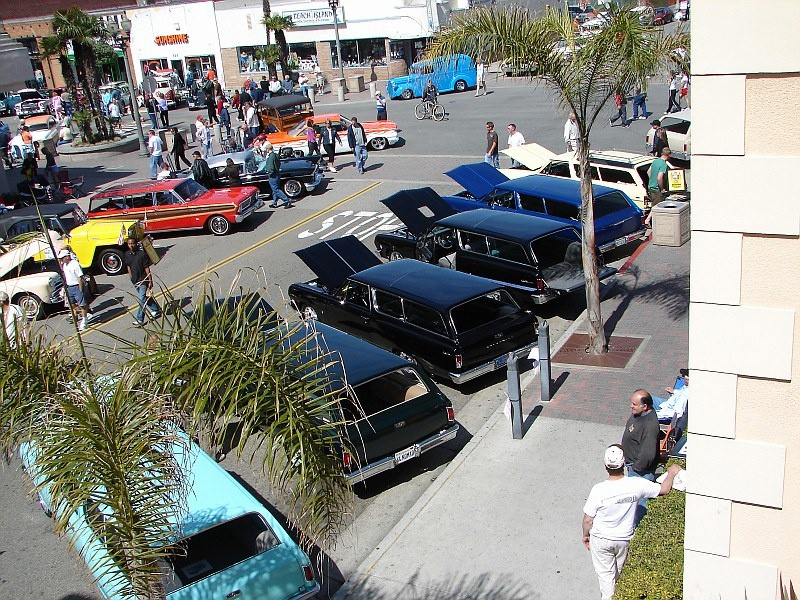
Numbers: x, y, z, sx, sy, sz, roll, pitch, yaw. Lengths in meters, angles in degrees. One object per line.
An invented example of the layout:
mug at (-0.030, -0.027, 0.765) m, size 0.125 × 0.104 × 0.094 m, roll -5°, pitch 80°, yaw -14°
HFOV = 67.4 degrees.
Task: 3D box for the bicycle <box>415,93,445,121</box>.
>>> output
bicycle at (1.748, -11.359, 35.323) m, size 2.160 × 1.438 × 1.111 m, roll 17°, pitch 43°, yaw 34°

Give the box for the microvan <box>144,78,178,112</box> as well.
microvan at (-18.391, -16.560, 47.136) m, size 1.386 × 2.629 × 7.344 m, roll -12°, pitch 19°, yaw -16°

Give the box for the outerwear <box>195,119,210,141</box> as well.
outerwear at (-9.543, -8.266, 28.857) m, size 0.532 × 1.141 × 0.672 m, roll -14°, pitch 19°, yaw -21°

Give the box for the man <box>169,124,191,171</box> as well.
man at (-10.447, -7.229, 28.469) m, size 0.878 × 2.107 × 0.750 m, roll -2°, pitch 34°, yaw -13°

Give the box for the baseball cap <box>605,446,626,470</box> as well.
baseball cap at (2.277, 1.658, 6.394) m, size 0.175 × 0.251 × 0.207 m, roll -2°, pitch 19°, yaw 15°

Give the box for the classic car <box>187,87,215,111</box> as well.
classic car at (-15.604, -15.314, 45.837) m, size 1.305 × 1.423 × 1.807 m, roll -17°, pitch 20°, yaw -28°

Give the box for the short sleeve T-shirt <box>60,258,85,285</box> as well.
short sleeve T-shirt at (-8.312, -0.698, 15.184) m, size 0.380 × 0.623 × 0.562 m, roll -17°, pitch 20°, yaw -29°

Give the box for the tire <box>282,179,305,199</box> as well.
tire at (-4.279, -4.463, 23.639) m, size 0.781 × 0.844 × 0.320 m, roll 0°, pitch 15°, yaw -3°

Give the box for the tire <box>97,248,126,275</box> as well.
tire at (-9.043, -1.277, 18.793) m, size 0.711 × 0.770 × 0.263 m, roll 1°, pitch 17°, yaw 0°

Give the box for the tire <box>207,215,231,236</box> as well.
tire at (-6.332, -2.665, 20.904) m, size 0.536 × 0.581 × 0.215 m, roll 3°, pitch 16°, yaw 2°

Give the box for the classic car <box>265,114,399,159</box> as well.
classic car at (-3.157, -7.481, 29.058) m, size 6.002 × 1.922 × 2.793 m, roll -5°, pitch 31°, yaw -1°

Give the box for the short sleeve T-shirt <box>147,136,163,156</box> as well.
short sleeve T-shirt at (-10.844, -6.828, 26.510) m, size 0.521 × 0.878 × 0.860 m, roll -14°, pitch 19°, yaw -20°

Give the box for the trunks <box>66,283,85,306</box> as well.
trunks at (-8.279, -0.173, 15.301) m, size 0.271 × 0.595 × 1.158 m, roll -16°, pitch 20°, yaw -25°

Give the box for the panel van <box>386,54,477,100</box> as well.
panel van at (2.454, -15.956, 42.922) m, size 6.284 × 2.791 × 3.740 m, roll -9°, pitch 17°, yaw 0°
